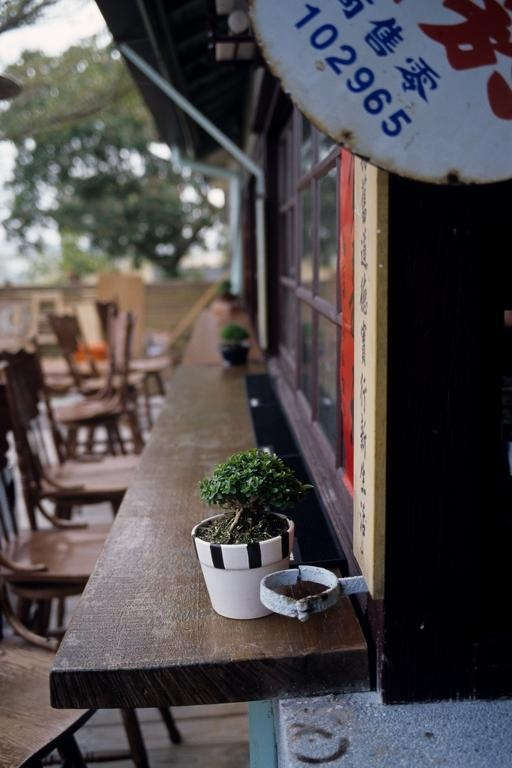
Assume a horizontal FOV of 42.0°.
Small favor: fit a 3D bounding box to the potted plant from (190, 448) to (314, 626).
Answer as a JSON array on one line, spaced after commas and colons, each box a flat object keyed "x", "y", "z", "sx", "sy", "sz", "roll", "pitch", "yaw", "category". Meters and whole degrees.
[{"x": -0.017, "y": 0.185, "z": 0.856, "sx": 0.148, "sy": 0.206, "sz": 0.130, "roll": 3, "pitch": 10, "yaw": 35, "category": "potted plant"}]

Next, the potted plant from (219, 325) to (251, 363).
[{"x": -0.085, "y": -0.200, "z": 3.111, "sx": 0.147, "sy": 0.228, "sz": 0.176, "roll": 2, "pitch": 6, "yaw": 33, "category": "potted plant"}]
